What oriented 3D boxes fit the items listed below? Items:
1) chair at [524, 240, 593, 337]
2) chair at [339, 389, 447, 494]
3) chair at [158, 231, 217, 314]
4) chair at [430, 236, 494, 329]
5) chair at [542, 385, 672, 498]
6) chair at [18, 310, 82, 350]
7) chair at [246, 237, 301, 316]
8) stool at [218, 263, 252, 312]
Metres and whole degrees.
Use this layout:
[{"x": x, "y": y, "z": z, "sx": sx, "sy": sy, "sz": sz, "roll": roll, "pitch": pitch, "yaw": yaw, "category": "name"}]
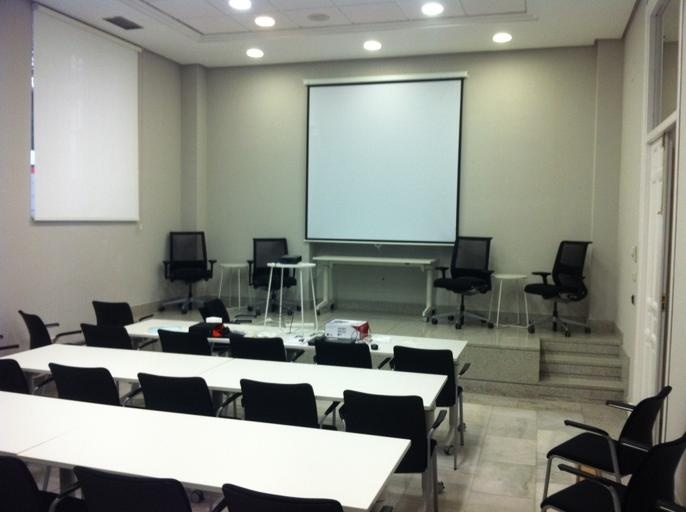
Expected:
[{"x": 2.876, "y": 0.386, "z": 7.513, "sx": 0.765, "sy": 1.262, "sz": 0.799, "roll": 4, "pitch": 2, "yaw": -4, "category": "chair"}, {"x": 0.366, "y": 1.234, "z": 4.025, "sx": 0.543, "sy": 0.756, "sz": 0.629, "roll": -1, "pitch": 3, "yaw": 14, "category": "chair"}, {"x": -2.442, "y": 0.237, "z": 8.814, "sx": 0.824, "sy": 1.255, "sz": 0.790, "roll": -4, "pitch": 6, "yaw": -42, "category": "chair"}, {"x": 1.717, "y": 0.332, "z": 7.917, "sx": 0.789, "sy": 1.285, "sz": 0.785, "roll": 2, "pitch": 2, "yaw": -38, "category": "chair"}, {"x": 1.776, "y": 1.435, "z": 4.021, "sx": 0.650, "sy": 0.907, "sz": 0.609, "roll": 8, "pitch": -5, "yaw": 24, "category": "chair"}, {"x": -3.386, "y": 0.835, "z": 6.441, "sx": 0.441, "sy": 0.553, "sz": 0.413, "roll": 4, "pitch": 8, "yaw": 32, "category": "chair"}, {"x": -1.069, "y": 0.279, "z": 8.735, "sx": 0.756, "sy": 1.157, "sz": 0.703, "roll": 0, "pitch": 1, "yaw": -20, "category": "chair"}, {"x": -1.900, "y": 0.500, "z": 9.438, "sx": 0.690, "sy": 0.663, "sz": 0.719, "roll": 4, "pitch": 5, "yaw": 10, "category": "stool"}]
